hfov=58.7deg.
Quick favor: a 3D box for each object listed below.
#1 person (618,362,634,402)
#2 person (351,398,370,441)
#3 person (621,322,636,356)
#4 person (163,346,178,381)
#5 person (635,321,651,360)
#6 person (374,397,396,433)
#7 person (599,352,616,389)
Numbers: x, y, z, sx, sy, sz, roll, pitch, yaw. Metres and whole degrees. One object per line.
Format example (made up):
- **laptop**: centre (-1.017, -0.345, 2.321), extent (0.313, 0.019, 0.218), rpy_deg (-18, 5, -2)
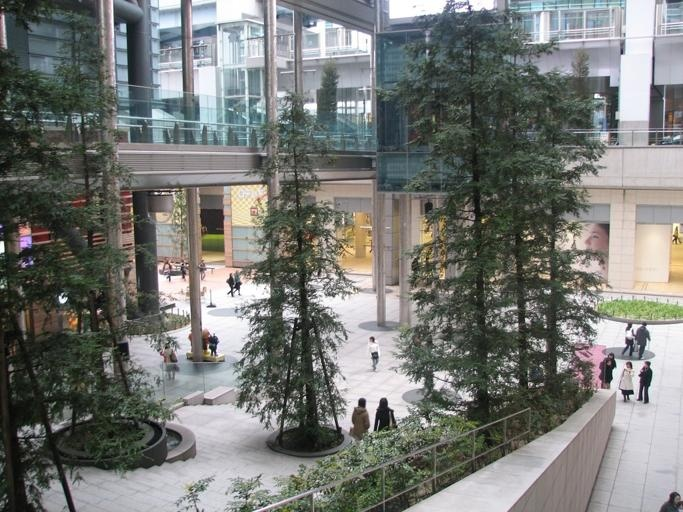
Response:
- **person**: centre (9.190, 4.080, 19.705), extent (0.423, 1.492, 1.410), rpy_deg (-1, 6, 24)
- **person**: centre (0.410, 3.938, 14.586), extent (0.451, 1.143, 1.190), rpy_deg (-3, 5, -1)
- **person**: centre (11.161, 3.275, 23.779), extent (0.458, 1.365, 0.850), rpy_deg (-1, 6, 24)
- **person**: centre (-5.278, 3.262, 18.751), extent (0.518, 1.022, 0.401), rpy_deg (-2, 21, -2)
- **person**: centre (11.766, 3.246, 23.916), extent (0.462, 1.431, 1.583), rpy_deg (-1, 6, 26)
- **person**: centre (0.970, 3.648, 13.831), extent (0.469, 0.849, 1.264), rpy_deg (-3, 5, 3)
- **person**: centre (8.644, 3.808, 19.878), extent (0.475, 1.198, 0.726), rpy_deg (-1, 6, 21)
